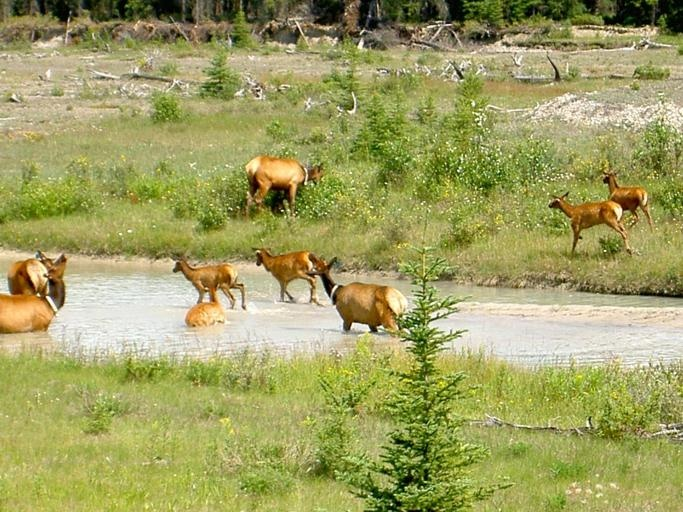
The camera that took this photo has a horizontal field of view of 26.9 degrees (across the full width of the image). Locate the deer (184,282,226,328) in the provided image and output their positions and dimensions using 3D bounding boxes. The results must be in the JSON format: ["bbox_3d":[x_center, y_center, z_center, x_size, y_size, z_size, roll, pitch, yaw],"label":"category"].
[{"bbox_3d":[-3.882,1.560,40.809,0.526,1.275,1.765,4,13,29],"label":"deer"}]

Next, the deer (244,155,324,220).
[{"bbox_3d":[-1.908,-2.290,48.447,2.654,2.194,0.833,1,11,-23],"label":"deer"}]

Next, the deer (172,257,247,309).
[{"bbox_3d":[-4.017,0.888,42.106,2.129,1.685,0.625,-1,8,13],"label":"deer"}]

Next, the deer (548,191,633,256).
[{"bbox_3d":[7.610,-1.008,44.029,2.465,1.982,0.589,0,13,27],"label":"deer"}]

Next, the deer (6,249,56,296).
[{"bbox_3d":[-8.821,0.580,40.418,1.090,1.454,0.985,-6,12,-34],"label":"deer"}]

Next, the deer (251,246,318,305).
[{"bbox_3d":[-1.720,0.624,42.912,2.285,1.804,0.584,-2,1,30],"label":"deer"}]

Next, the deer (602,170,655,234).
[{"bbox_3d":[8.976,-1.775,45.358,0.513,1.669,2.193,-6,14,-28],"label":"deer"}]
